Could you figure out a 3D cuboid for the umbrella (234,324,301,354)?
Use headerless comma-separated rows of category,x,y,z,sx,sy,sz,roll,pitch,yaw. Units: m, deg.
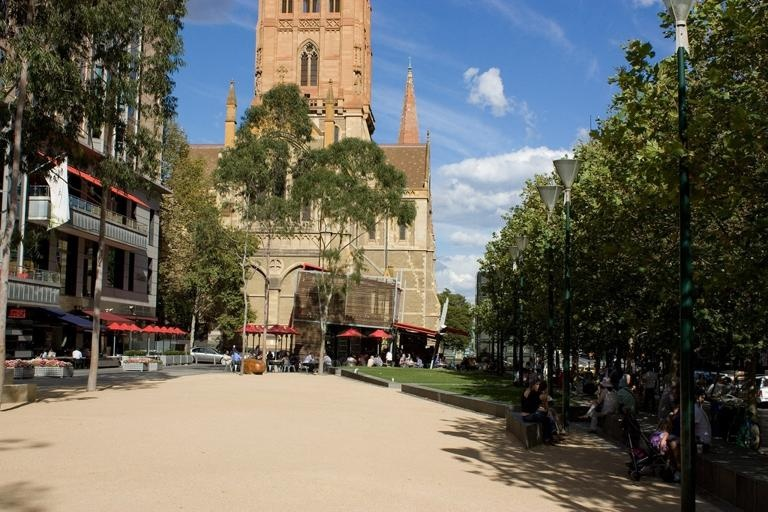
umbrella,-9.488,5.644,61.587,3.759,2.307,4.570,-8,-13,29

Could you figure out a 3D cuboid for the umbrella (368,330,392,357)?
umbrella,-0.501,7.202,58.843,1.999,1.972,2.257,-2,-1,18
